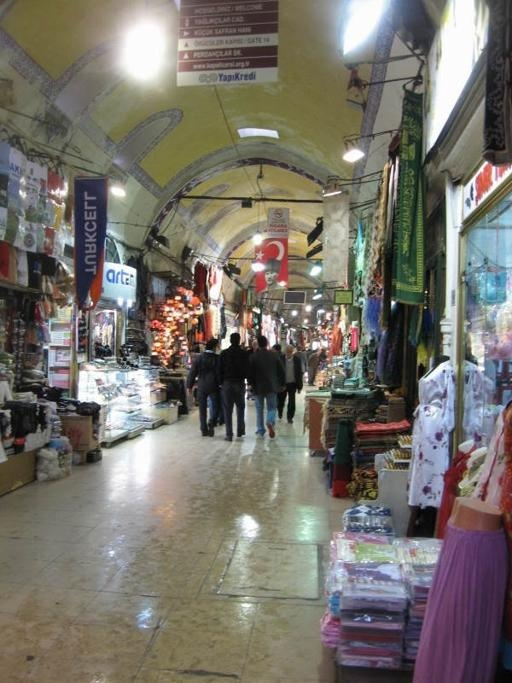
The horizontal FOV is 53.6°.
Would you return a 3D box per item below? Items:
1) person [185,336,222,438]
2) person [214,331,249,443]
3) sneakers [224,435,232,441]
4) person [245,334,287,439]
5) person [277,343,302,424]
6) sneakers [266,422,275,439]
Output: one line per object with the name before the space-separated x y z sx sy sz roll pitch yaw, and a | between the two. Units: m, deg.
person | -0.802 0.756 8.486 0.693 1.568 0.602 1 1 -1
person | -0.365 0.707 7.975 0.483 1.659 1.014 1 -2 -4
sneakers | -0.430 1.495 7.880 0.073 0.085 0.129 0 -10 -2
person | 0.155 0.720 8.032 0.553 1.609 0.949 1 -2 3
person | 0.667 0.869 10.237 0.563 1.671 0.570 -1 18 -8
sneakers | 0.213 1.399 7.883 0.108 0.302 0.117 -4 21 12
